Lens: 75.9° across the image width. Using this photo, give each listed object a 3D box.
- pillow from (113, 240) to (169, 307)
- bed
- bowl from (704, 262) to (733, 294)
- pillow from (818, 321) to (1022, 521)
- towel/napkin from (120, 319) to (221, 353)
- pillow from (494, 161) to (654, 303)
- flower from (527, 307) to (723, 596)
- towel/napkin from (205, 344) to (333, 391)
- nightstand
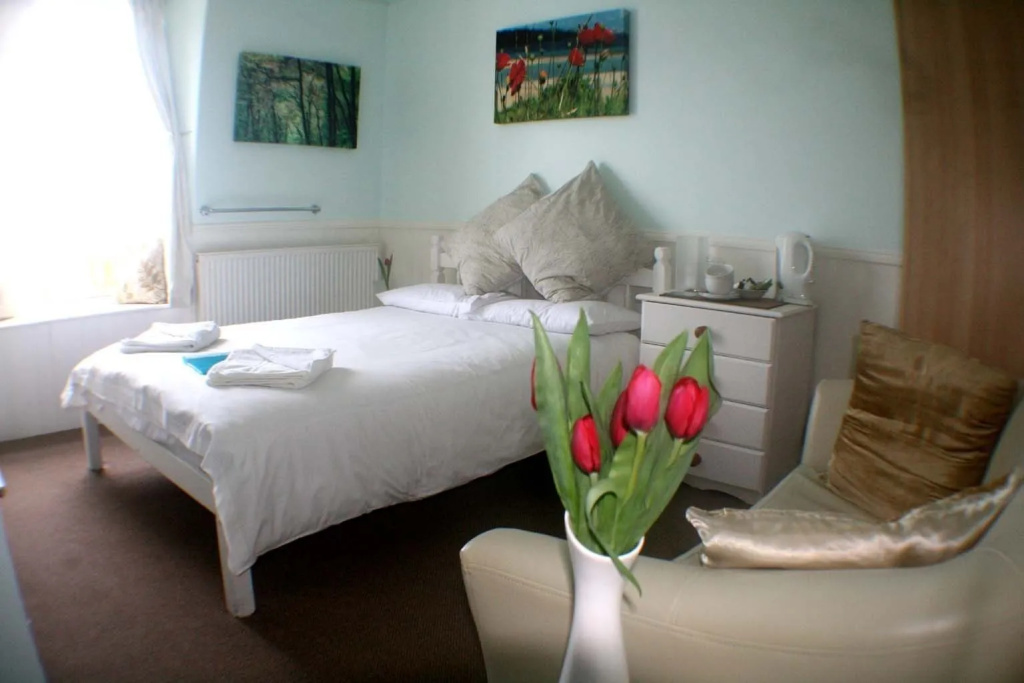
[{"bbox_3d":[-2.501,-0.478,4.420,0.411,0.433,0.113,-1,-4,-4],"label":"pillow"},{"bbox_3d":[-1.518,0.623,4.751,2.517,1.219,2.230,-17,27,-39],"label":"bed"},{"bbox_3d":[1.105,-0.342,3.515,0.135,0.147,0.175,5,17,29],"label":"bowl"},{"bbox_3d":[1.296,0.271,2.072,0.201,0.618,0.512,3,17,-39],"label":"pillow"},{"bbox_3d":[-1.731,-0.023,3.336,0.431,0.113,0.260,-2,12,-3],"label":"towel/napkin"},{"bbox_3d":[0.382,-0.755,4.150,1.006,1.063,0.255,6,40,1],"label":"pillow"},{"bbox_3d":[0.229,0.281,1.412,0.393,0.687,0.326,3,14,18],"label":"flower"},{"bbox_3d":[-1.042,0.102,2.892,0.472,0.123,0.358,0,12,2],"label":"towel/napkin"},{"bbox_3d":[1.135,0.266,3.673,0.820,1.066,0.741,12,19,38],"label":"nightstand"}]
